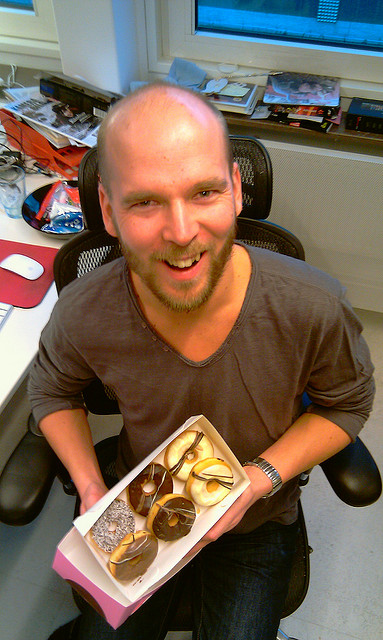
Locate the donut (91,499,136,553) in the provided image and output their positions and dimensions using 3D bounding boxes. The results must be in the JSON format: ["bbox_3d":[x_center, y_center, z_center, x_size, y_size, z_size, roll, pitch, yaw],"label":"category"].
[{"bbox_3d":[-0.107,0.287,0.627,0.057,0.015,0.057,-1,70,-47],"label":"donut"}]

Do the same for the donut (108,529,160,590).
[{"bbox_3d":[-0.077,0.322,0.614,0.019,0.059,0.059,8,52,39],"label":"donut"}]

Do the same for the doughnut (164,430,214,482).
[{"bbox_3d":[-0.005,0.196,0.697,0.078,0.081,0.029,-6,-1,-12],"label":"doughnut"}]

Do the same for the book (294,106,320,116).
[{"bbox_3d":[0.433,-0.781,1.658,0.072,0.018,0.052,1,79,2],"label":"book"}]

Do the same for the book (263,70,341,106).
[{"bbox_3d":[0.425,-0.883,1.700,0.216,0.056,0.233,8,53,4],"label":"book"}]

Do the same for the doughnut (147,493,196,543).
[{"bbox_3d":[-0.030,0.289,0.661,0.073,0.061,0.055,-7,37,-9],"label":"doughnut"}]

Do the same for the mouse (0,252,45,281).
[{"bbox_3d":[-0.479,-0.155,1.266,0.112,0.031,0.068,26,63,10],"label":"mouse"}]

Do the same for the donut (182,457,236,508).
[{"bbox_3d":[0.029,0.224,0.668,0.071,0.074,0.026,-13,10,-18],"label":"donut"}]
